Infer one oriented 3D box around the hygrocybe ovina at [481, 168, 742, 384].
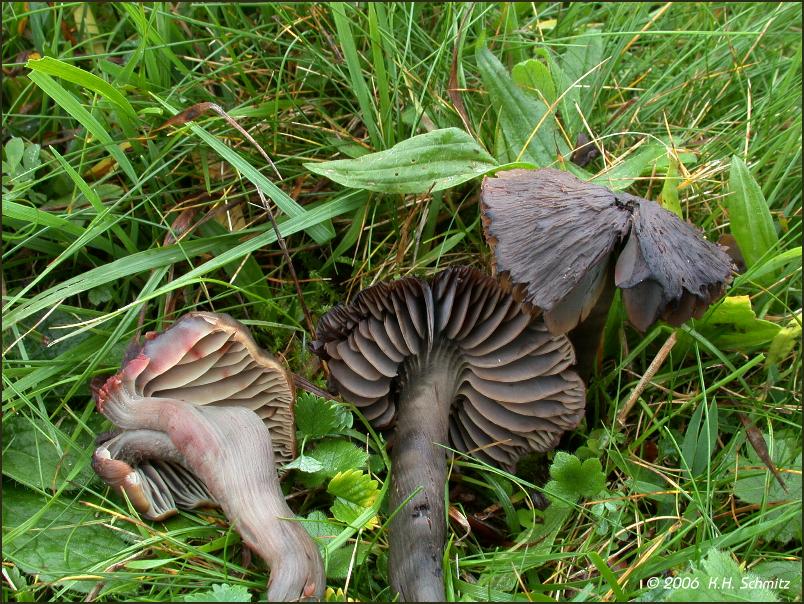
[{"bbox_3d":[0.634,-0.073,2.484,0.615,0.599,0.558,37,66,19],"label":"hygrocybe ovina"}]
